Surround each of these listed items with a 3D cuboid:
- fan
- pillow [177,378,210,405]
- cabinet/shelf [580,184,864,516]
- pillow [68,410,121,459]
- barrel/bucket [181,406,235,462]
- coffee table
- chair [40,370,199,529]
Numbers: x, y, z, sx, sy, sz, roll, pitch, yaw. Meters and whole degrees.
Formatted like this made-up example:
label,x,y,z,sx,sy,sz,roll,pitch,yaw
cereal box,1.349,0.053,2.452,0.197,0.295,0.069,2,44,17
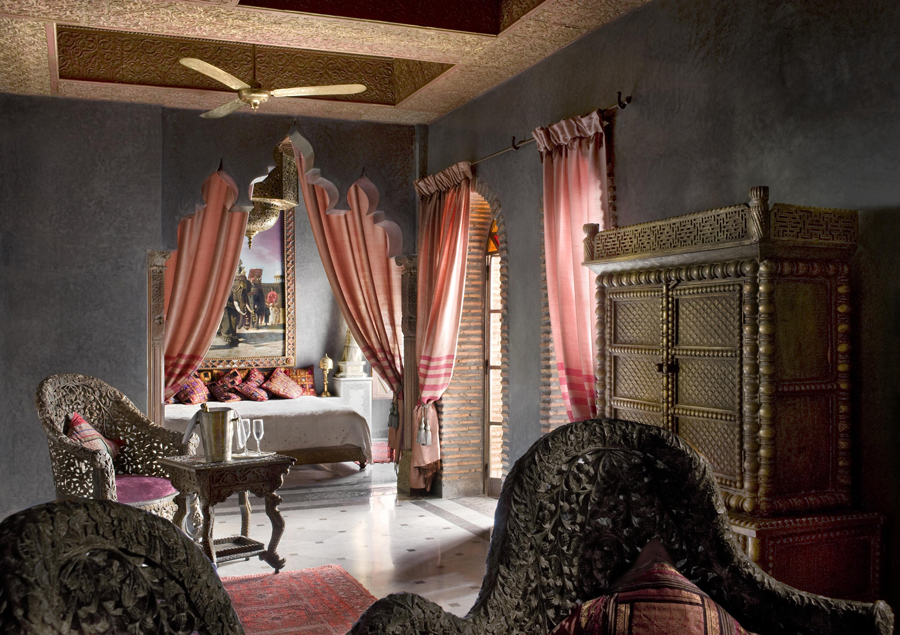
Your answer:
label,x,y,z,sx,sy,sz,roll,pitch,yaw
fan,-1.109,-1.394,4.648,1.115,0.176,1.165,-5,1,-16
pillow,-2.896,0.846,8.206,0.284,0.087,0.260,21,-3,28
cabinet/shelf,1.292,0.218,3.687,0.629,1.338,1.351,-1,-1,-22
pillow,-2.269,0.765,4.618,0.266,0.306,0.392,0,1,-15
barrel/bucket,-1.464,0.725,4.508,0.355,0.339,0.202,-1,3,-25
coffee table,-1.430,1.103,4.737,0.877,0.865,0.821,3,-7,-42
chair,-2.134,0.950,4.592,0.848,1.078,0.757,5,3,20
